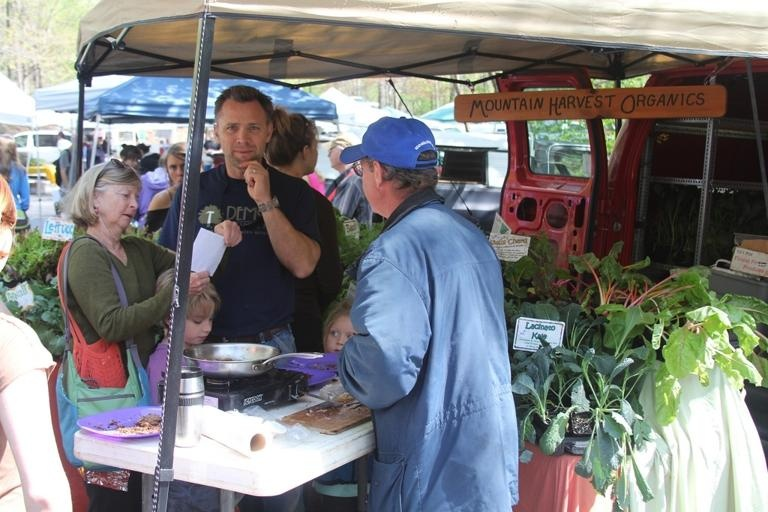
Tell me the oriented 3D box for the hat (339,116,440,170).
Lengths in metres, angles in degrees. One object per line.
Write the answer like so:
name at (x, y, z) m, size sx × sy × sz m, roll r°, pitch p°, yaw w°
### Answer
hat at (0.046, -0.587, 3.033) m, size 0.386 × 0.220 × 0.299 m, roll 22°, pitch 23°, yaw 35°

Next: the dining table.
dining table at (-0.572, 0.650, 2.730) m, size 0.543 × 0.444 × 0.878 m, roll 1°, pitch 1°, yaw 22°

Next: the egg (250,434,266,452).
egg at (-0.550, 0.827, 2.646) m, size 0.068 × 0.074 × 0.029 m, roll 3°, pitch 2°, yaw 7°

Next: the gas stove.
gas stove at (-0.704, 0.716, 3.141) m, size 0.494 × 0.183 × 0.438 m, roll -4°, pitch -2°, yaw -42°

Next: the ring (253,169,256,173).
ring at (-0.805, -0.538, 3.750) m, size 0.017 × 0.022 × 0.008 m, roll -1°, pitch -8°, yaw -1°

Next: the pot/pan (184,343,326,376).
pot/pan at (-0.764, 0.523, 3.111) m, size 0.406 × 0.073 × 0.278 m, roll 1°, pitch -1°, yaw 16°

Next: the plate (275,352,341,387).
plate at (-0.427, 0.650, 3.540) m, size 0.263 × 0.075 × 0.345 m, roll -8°, pitch 15°, yaw -44°

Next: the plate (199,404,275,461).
plate at (-0.656, 0.790, 2.690) m, size 0.328 × 0.172 × 0.201 m, roll 2°, pitch 2°, yaw -10°

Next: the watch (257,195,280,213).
watch at (-0.734, -0.320, 3.813) m, size 0.104 × 0.044 × 0.110 m, roll -24°, pitch -6°, yaw 39°

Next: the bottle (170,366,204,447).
bottle at (-0.868, 0.683, 2.697) m, size 0.113 × 0.360 × 0.083 m, roll 2°, pitch 2°, yaw -22°
